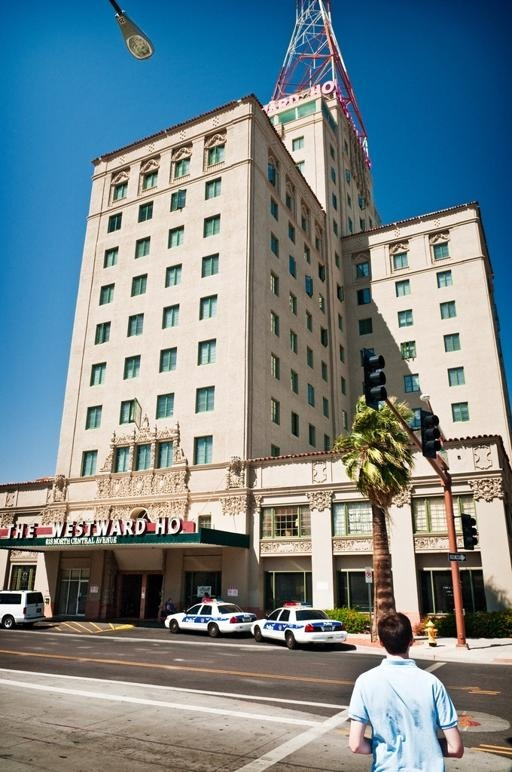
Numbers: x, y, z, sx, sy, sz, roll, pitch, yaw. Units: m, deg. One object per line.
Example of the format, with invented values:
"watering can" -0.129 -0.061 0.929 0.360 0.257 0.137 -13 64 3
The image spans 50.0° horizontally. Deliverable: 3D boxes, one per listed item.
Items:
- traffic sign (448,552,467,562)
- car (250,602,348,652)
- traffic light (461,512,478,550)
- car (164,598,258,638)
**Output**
"traffic sign" 7.651 6.515 21.003 0.518 0.303 0.568 -4 -20 14
"car" 1.666 9.720 22.680 1.721 1.330 4.038 14 -24 -25
"traffic light" 8.319 5.590 21.508 0.511 1.327 1.819 -6 -20 19
"car" -2.200 11.475 27.160 4.528 1.484 1.105 -13 -24 34
